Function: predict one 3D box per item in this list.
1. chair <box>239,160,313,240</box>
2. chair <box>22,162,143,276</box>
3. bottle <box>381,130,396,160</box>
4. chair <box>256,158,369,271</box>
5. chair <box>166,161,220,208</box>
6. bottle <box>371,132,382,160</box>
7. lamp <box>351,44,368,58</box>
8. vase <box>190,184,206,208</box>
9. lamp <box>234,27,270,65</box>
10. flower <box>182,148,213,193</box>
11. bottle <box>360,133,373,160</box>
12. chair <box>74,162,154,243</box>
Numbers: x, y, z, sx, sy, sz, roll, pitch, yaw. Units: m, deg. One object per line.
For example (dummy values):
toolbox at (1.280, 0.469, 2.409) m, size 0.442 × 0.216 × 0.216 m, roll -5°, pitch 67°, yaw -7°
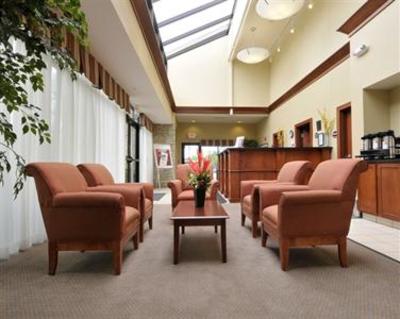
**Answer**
chair at (1.062, 0.540, 4.193) m, size 0.815 × 1.118 × 0.831 m, roll 2°, pitch 0°, yaw -5°
chair at (-1.304, 0.602, 3.454) m, size 0.934 × 1.238 × 1.226 m, roll -1°, pitch -1°, yaw -5°
bottle at (2.910, -0.246, 4.532) m, size 0.244 × 0.423 × 0.252 m, roll 0°, pitch 7°, yaw 0°
chair at (1.234, 0.566, 3.428) m, size 0.868 × 1.336 × 1.035 m, roll 6°, pitch -3°, yaw -10°
chair at (-0.101, 0.381, 5.000) m, size 0.723 × 1.022 × 0.759 m, roll 1°, pitch -12°, yaw -1°
bottle at (2.852, -0.241, 4.712) m, size 0.137 × 0.390 × 0.326 m, roll 3°, pitch 8°, yaw 27°
lamp at (2.805, -1.939, 5.165) m, size 0.118 × 0.200 × 0.349 m, roll -1°, pitch 8°, yaw -7°
vase at (0.003, 0.515, 3.765) m, size 0.169 × 0.225 × 0.190 m, roll -17°, pitch -40°, yaw 25°
lamp at (1.551, -3.421, 8.622) m, size 0.967 × 1.216 × 1.142 m, roll 0°, pitch -4°, yaw 0°
flower at (-0.019, 0.163, 3.775) m, size 0.240 × 0.470 × 0.271 m, roll -10°, pitch -9°, yaw 31°
bottle at (2.868, -0.214, 4.964) m, size 0.233 × 0.418 × 0.208 m, roll -1°, pitch 2°, yaw 30°
chair at (-1.176, 0.553, 3.920) m, size 0.734 × 0.938 × 0.724 m, roll 9°, pitch 9°, yaw 14°
